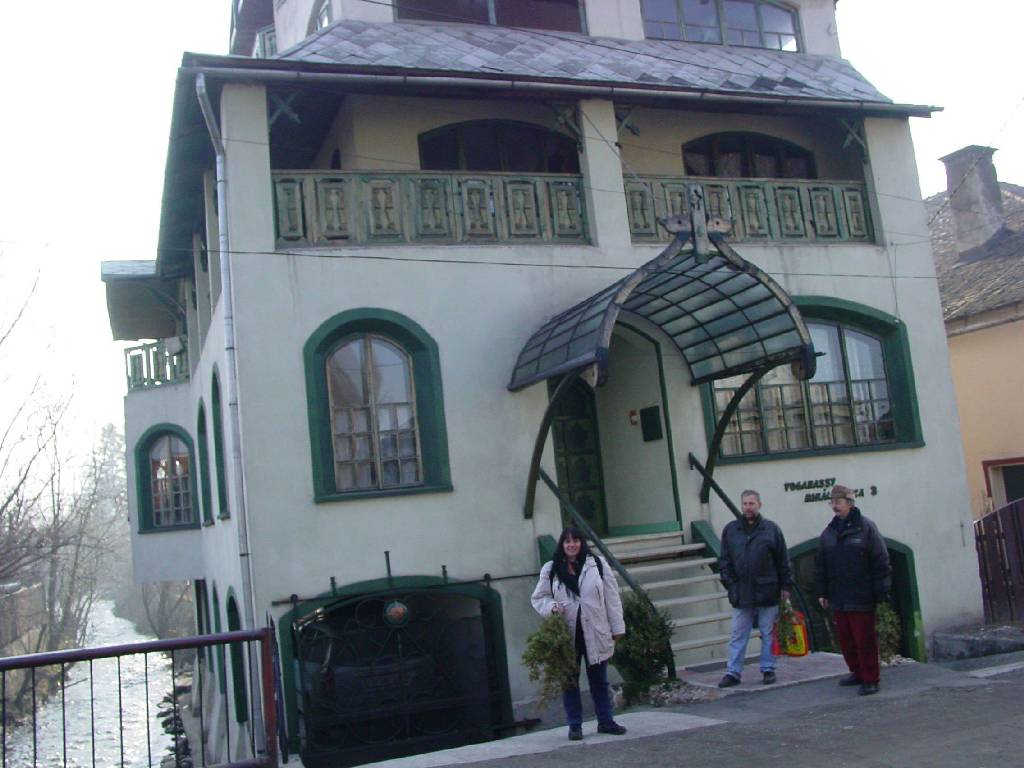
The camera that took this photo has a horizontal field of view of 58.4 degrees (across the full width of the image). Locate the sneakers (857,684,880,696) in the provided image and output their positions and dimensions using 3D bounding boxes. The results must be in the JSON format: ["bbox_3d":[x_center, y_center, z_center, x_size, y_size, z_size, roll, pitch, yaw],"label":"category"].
[{"bbox_3d":[4.252,3.666,10.993,0.381,0.122,0.137,1,-13,-36],"label":"sneakers"}]

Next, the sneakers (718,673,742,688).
[{"bbox_3d":[2.775,3.831,11.806,0.365,0.167,0.121,16,-19,-40],"label":"sneakers"}]

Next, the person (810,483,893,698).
[{"bbox_3d":[4.151,2.632,11.183,0.382,2.217,0.868,3,-13,-39],"label":"person"}]

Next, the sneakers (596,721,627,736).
[{"bbox_3d":[1.107,3.848,10.231,0.328,0.157,0.124,-10,-10,35],"label":"sneakers"}]

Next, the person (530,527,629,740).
[{"bbox_3d":[0.775,2.778,10.212,0.926,2.324,0.629,-6,-10,1],"label":"person"}]

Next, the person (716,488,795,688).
[{"bbox_3d":[3.082,2.649,11.875,1.012,2.478,0.794,-9,-11,17],"label":"person"}]

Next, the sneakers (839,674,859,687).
[{"bbox_3d":[4.150,3.720,11.450,0.258,0.117,0.098,0,-3,38],"label":"sneakers"}]

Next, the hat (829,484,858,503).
[{"bbox_3d":[4.031,1.347,11.403,0.347,0.184,0.390,0,-9,0],"label":"hat"}]
